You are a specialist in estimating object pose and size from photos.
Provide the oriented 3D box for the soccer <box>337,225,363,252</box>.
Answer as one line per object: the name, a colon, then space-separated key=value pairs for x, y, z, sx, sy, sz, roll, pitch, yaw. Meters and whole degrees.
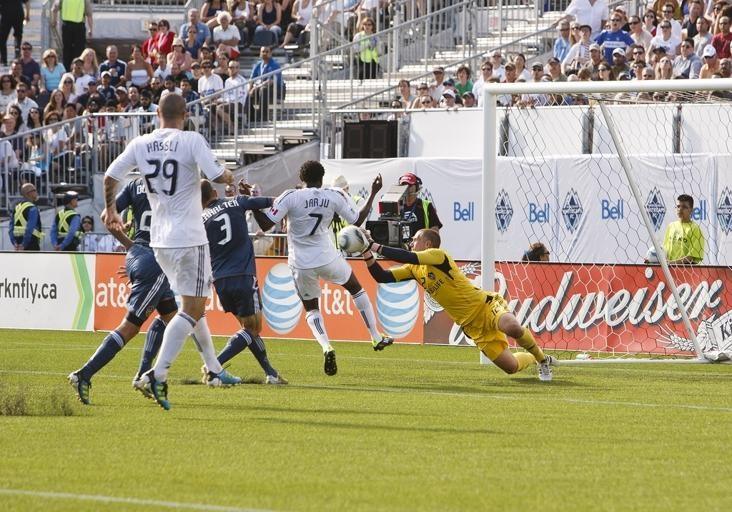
soccer: x=-0.171 y=-0.240 z=18.746 sx=0.250 sy=0.365 sz=0.338 roll=-4 pitch=-23 yaw=40

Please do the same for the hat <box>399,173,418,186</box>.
hat: x=0.671 y=-1.203 z=22.736 sx=0.169 sy=0.276 sz=0.269 roll=1 pitch=-4 yaw=10

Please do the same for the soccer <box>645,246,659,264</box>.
soccer: x=4.370 y=0.006 z=22.257 sx=0.204 sy=0.315 sz=0.296 roll=-7 pitch=-2 yaw=-7

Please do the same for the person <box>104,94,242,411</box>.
person: x=-2.222 y=-0.079 z=16.809 sx=1.404 sy=3.633 sz=0.764 roll=-2 pitch=4 yaw=-2

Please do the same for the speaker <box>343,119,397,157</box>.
speaker: x=0.114 y=-2.191 z=26.741 sx=0.581 sy=0.621 sz=0.224 roll=1 pitch=-5 yaw=6

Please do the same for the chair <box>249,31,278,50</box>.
chair: x=-2.235 y=-4.828 z=31.980 sx=0.440 sy=0.461 sz=0.415 roll=2 pitch=-11 yaw=4
